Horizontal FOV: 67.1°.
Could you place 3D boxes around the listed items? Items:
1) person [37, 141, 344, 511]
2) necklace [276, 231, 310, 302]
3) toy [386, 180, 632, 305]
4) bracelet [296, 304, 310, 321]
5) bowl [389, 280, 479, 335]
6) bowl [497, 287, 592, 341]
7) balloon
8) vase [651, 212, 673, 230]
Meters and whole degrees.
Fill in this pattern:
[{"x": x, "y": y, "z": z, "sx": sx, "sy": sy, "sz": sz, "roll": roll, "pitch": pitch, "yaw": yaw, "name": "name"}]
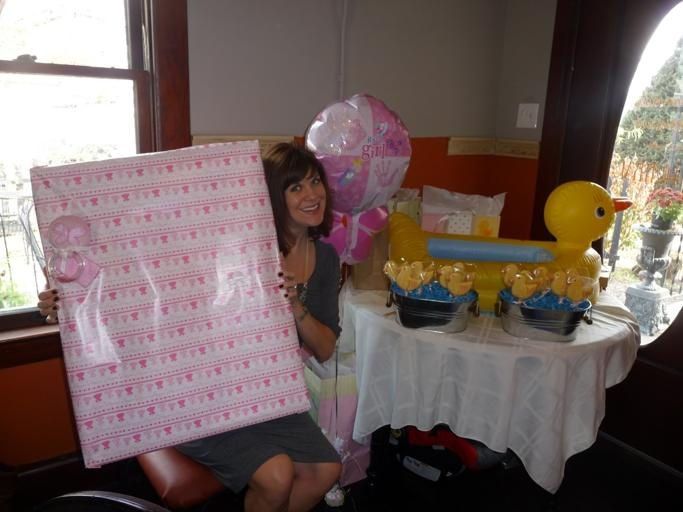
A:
[{"x": -0.193, "y": 0.215, "z": 1.823, "sx": 0.528, "sy": 1.221, "sz": 0.709, "roll": 9, "pitch": 20, "yaw": 25, "name": "person"}, {"x": -0.156, "y": 0.054, "z": 1.889, "sx": 0.090, "sy": 0.185, "sz": 0.043, "roll": 3, "pitch": -10, "yaw": 1, "name": "necklace"}, {"x": 0.683, "y": -0.076, "z": 2.232, "sx": 0.894, "sy": 0.467, "sz": 0.521, "roll": -1, "pitch": 26, "yaw": 4, "name": "toy"}, {"x": -0.143, "y": 0.200, "z": 1.846, "sx": 0.018, "sy": 0.055, "sz": 0.040, "roll": 16, "pitch": 4, "yaw": -20, "name": "bracelet"}, {"x": 0.350, "y": 0.188, "z": 1.950, "sx": 0.261, "sy": 0.108, "sz": 0.193, "roll": 2, "pitch": 6, "yaw": 6, "name": "bowl"}, {"x": 0.830, "y": 0.240, "z": 1.965, "sx": 0.239, "sy": 0.119, "sz": 0.302, "roll": -11, "pitch": 5, "yaw": -36, "name": "bowl"}, {"x": 0.052, "y": -0.306, "z": 2.161, "sx": 0.459, "sy": 0.627, "sz": 0.285, "roll": 6, "pitch": 9, "yaw": -7, "name": "balloon"}, {"x": 1.585, "y": -0.175, "z": 2.547, "sx": 0.070, "sy": 0.055, "sz": 0.071, "roll": 4, "pitch": -5, "yaw": 6, "name": "vase"}]
